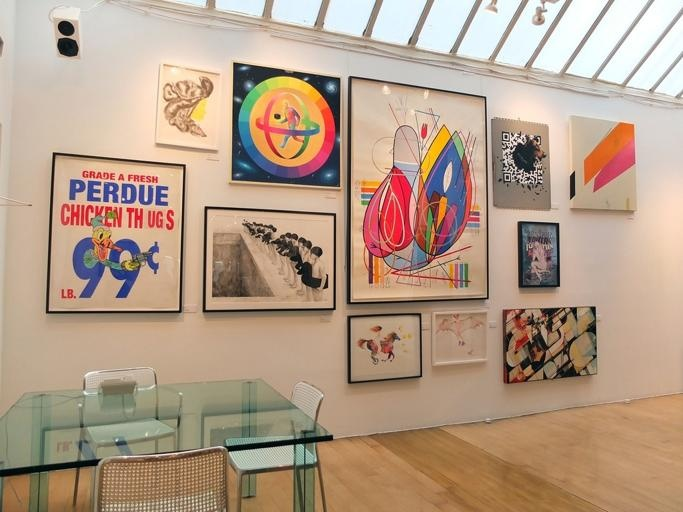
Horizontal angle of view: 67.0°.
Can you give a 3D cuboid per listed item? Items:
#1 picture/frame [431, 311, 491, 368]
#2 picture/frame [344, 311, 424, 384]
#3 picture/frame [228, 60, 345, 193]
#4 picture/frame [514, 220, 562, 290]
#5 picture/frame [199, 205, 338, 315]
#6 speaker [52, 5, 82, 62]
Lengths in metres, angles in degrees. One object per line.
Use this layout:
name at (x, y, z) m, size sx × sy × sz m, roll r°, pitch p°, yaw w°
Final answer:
picture/frame at (1.568, 1.126, 6.985) m, size 0.690 × 0.667 × 0.053 m, roll 0°, pitch -2°, yaw -22°
picture/frame at (0.494, 1.176, 6.625) m, size 0.831 × 0.780 × 0.065 m, roll -1°, pitch 0°, yaw -21°
picture/frame at (-0.742, -1.549, 6.320) m, size 1.406 × 1.639 × 0.030 m, roll 3°, pitch -4°, yaw -24°
picture/frame at (2.832, -0.026, 7.417) m, size 0.680 × 0.930 × 0.129 m, roll -1°, pitch 3°, yaw -22°
picture/frame at (-0.958, 0.058, 6.195) m, size 1.150 × 0.978 × 0.041 m, roll 1°, pitch -3°, yaw -21°
speaker at (-2.656, -2.159, 4.982) m, size 0.237 × 0.453 × 0.368 m, roll -1°, pitch 4°, yaw -28°
